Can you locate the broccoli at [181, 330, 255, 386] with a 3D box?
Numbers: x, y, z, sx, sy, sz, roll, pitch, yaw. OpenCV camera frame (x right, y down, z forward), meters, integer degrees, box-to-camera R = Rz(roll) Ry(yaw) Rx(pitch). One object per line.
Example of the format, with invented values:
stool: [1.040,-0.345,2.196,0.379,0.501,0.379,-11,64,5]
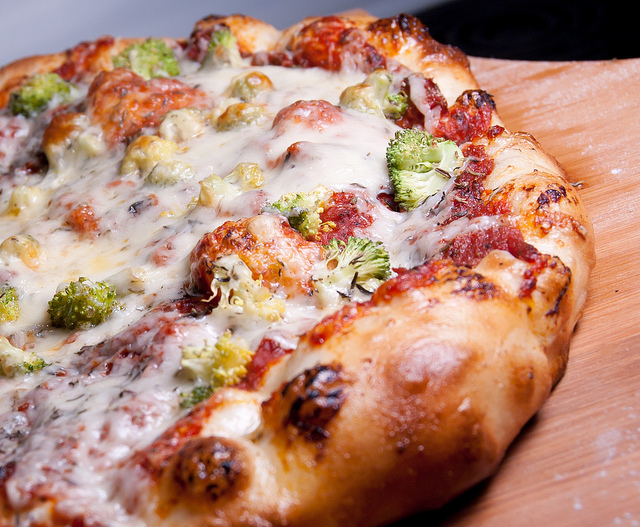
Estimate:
broccoli: [-0.384,0.343,2.627,0.234,0.098,0.178,19,61,14]

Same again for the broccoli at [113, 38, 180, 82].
broccoli: [-1.094,-1.294,4.759,0.249,0.303,0.126,-51,54,18]

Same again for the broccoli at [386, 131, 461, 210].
broccoli: [0.449,-0.444,3.256,0.425,0.099,0.344,12,54,5]

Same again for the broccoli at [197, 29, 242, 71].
broccoli: [-0.612,-1.351,4.687,0.252,0.127,0.287,0,45,30]

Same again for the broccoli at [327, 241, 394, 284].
broccoli: [0.142,-0.025,2.793,0.222,0.062,0.148,8,80,-8]

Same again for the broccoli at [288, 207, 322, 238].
broccoli: [-0.064,-0.166,3.001,0.117,0.133,0.047,19,51,-4]

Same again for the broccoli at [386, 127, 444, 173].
broccoli: [0.460,-0.559,3.379,0.302,0.275,0.109,0,86,-4]

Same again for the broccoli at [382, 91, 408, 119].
broccoli: [0.398,-0.839,3.837,0.125,0.051,0.123,-6,67,7]

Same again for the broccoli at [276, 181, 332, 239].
broccoli: [-0.017,-0.229,3.068,0.251,0.076,0.228,19,56,43]

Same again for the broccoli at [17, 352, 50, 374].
broccoli: [-1.134,0.387,2.845,0.092,0.024,0.081,-21,56,-25]

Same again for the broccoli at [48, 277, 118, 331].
broccoli: [-0.987,0.125,3.025,0.239,0.090,0.202,13,28,33]
